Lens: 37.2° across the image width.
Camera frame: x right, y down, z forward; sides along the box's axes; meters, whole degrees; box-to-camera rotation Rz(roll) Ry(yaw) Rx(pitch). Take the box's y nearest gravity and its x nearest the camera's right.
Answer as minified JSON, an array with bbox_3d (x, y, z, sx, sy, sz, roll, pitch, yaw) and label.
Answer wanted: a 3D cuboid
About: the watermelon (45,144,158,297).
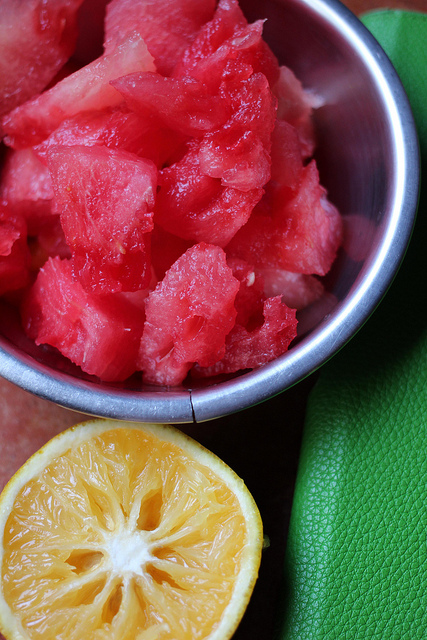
[{"bbox_3d":[-0.132,-0.116,0.751,0.166,0.069,0.168,1,101,3],"label":"watermelon"}]
